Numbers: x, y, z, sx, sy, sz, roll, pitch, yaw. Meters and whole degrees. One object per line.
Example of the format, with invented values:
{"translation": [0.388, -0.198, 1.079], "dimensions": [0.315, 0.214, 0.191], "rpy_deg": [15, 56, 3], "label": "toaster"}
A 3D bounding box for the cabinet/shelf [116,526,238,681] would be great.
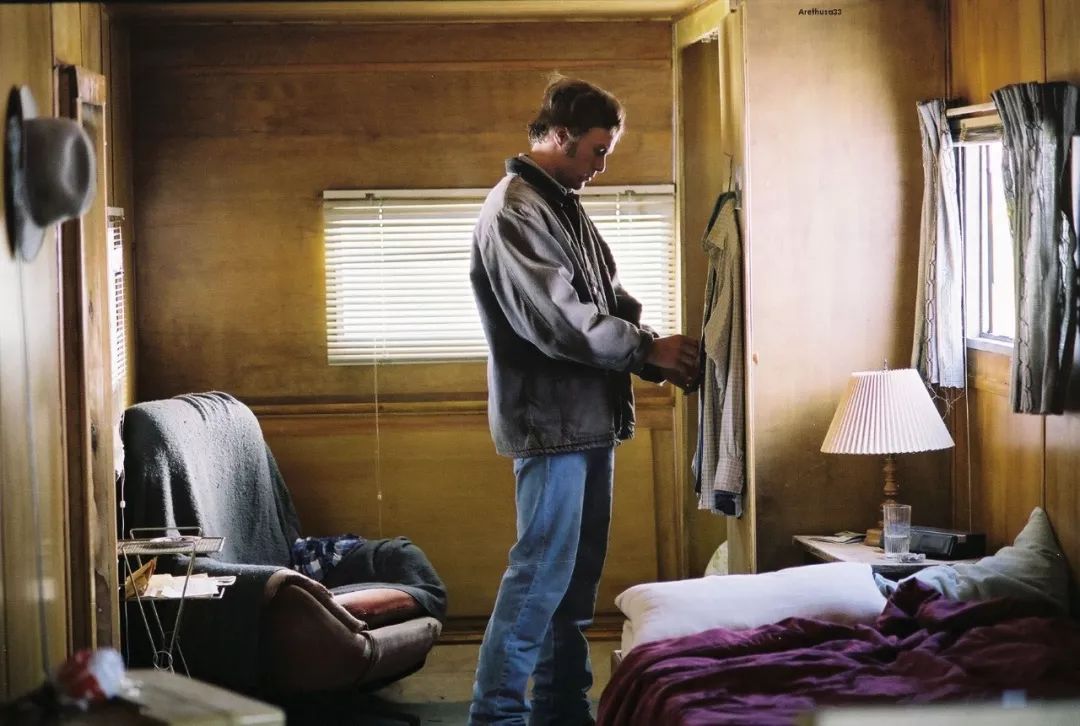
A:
{"translation": [-1.384, 0.879, 3.704], "dimensions": [0.480, 0.485, 0.368], "rpy_deg": [1, -4, -12], "label": "cabinet/shelf"}

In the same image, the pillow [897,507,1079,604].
{"translation": [1.573, 0.627, 3.469], "dimensions": [0.349, 0.213, 0.348], "rpy_deg": [-2, -5, 1], "label": "pillow"}

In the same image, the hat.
{"translation": [-1.446, -0.563, 3.015], "dimensions": [0.204, 0.550, 0.301], "rpy_deg": [-4, 1, -14], "label": "hat"}

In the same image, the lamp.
{"translation": [1.317, 0.331, 4.241], "dimensions": [0.630, 0.754, 0.649], "rpy_deg": [4, 9, 43], "label": "lamp"}

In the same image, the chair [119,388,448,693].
{"translation": [-1.103, 0.731, 4.339], "dimensions": [1.181, 1.137, 1.309], "rpy_deg": [0, -5, 16], "label": "chair"}
